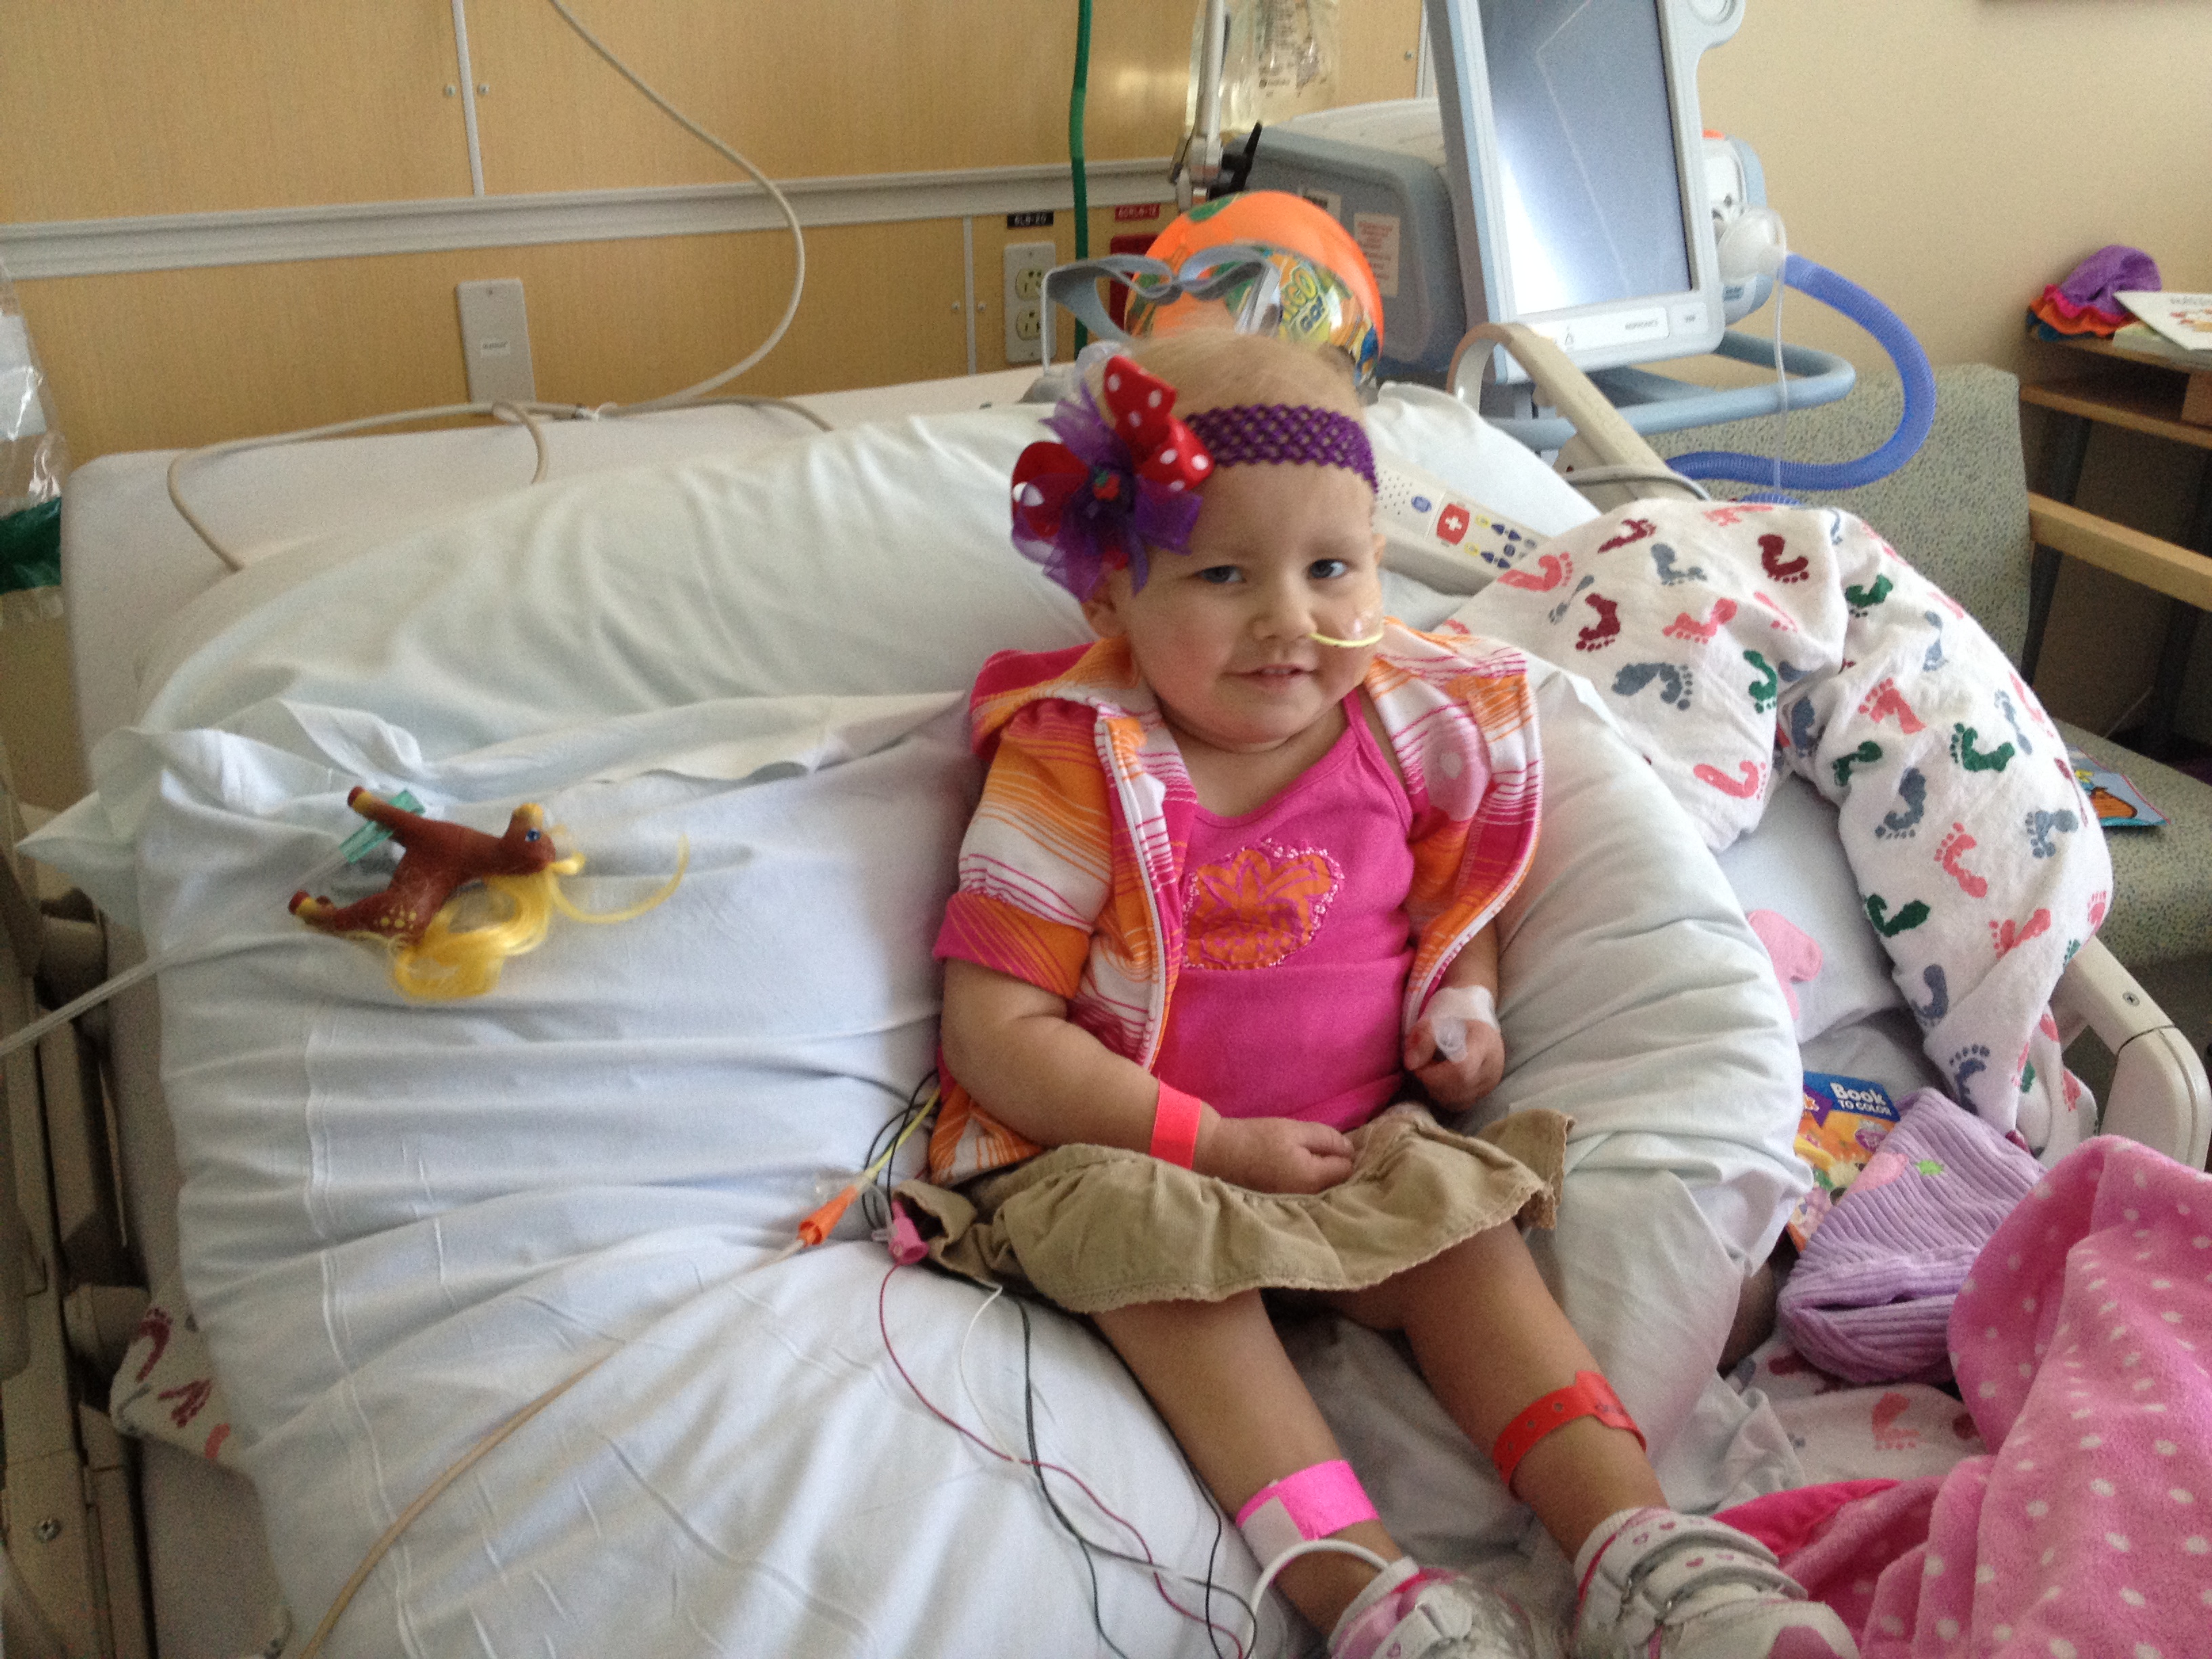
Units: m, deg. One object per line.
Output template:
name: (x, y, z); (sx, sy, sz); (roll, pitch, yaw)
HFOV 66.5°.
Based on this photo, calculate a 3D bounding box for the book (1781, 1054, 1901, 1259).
book: (0.643, 0.282, 1.477); (0.133, 0.036, 0.136); (29, 41, -2)

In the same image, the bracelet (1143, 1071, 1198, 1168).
bracelet: (0.050, 0.217, 1.242); (0.029, 0.046, 0.047); (1, 58, -8)
